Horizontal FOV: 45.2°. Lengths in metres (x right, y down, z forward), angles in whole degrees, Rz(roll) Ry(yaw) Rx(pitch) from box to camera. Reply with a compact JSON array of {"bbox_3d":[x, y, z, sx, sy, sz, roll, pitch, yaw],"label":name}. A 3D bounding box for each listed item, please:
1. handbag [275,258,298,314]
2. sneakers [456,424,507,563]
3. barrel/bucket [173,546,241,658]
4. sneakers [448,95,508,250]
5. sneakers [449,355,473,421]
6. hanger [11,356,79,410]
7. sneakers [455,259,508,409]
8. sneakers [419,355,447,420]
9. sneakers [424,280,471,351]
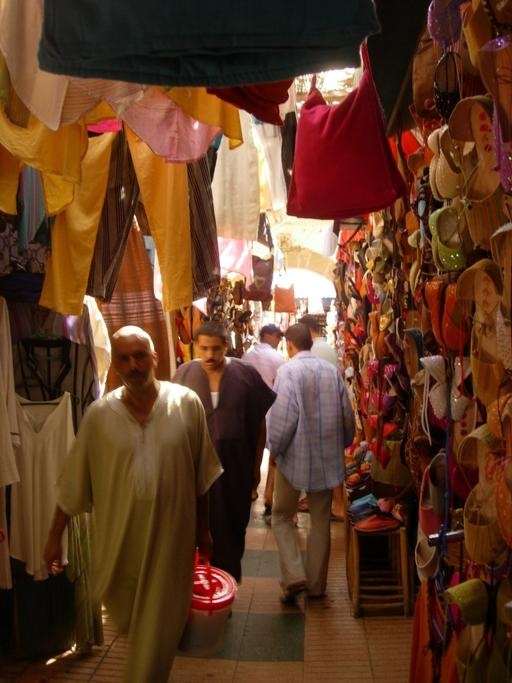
[{"bbox_3d":[0.486,-0.927,10.454,0.385,0.911,1.152,1,-1,1],"label":"handbag"},{"bbox_3d":[0.427,0.304,1.154,0.086,0.314,0.075,7,-10,-44],"label":"sneakers"},{"bbox_3d":[-0.211,1.095,2.576,0.281,0.372,0.385,4,12,-11],"label":"barrel/bucket"},{"bbox_3d":[0.437,-0.296,1.201,0.079,0.373,0.121,3,26,29],"label":"sneakers"},{"bbox_3d":[0.489,0.099,1.462,0.036,0.164,0.048,4,12,29],"label":"sneakers"},{"bbox_3d":[-1.057,0.207,3.040,0.174,0.259,0.030,0,-5,-23],"label":"hanger"},{"bbox_3d":[0.448,-0.025,1.213,0.092,0.332,0.071,-12,12,-43],"label":"sneakers"},{"bbox_3d":[0.473,0.118,1.650,0.045,0.232,0.073,-4,-3,14],"label":"sneakers"},{"bbox_3d":[0.468,-0.099,1.498,0.063,0.226,0.088,-6,10,-27],"label":"sneakers"}]
